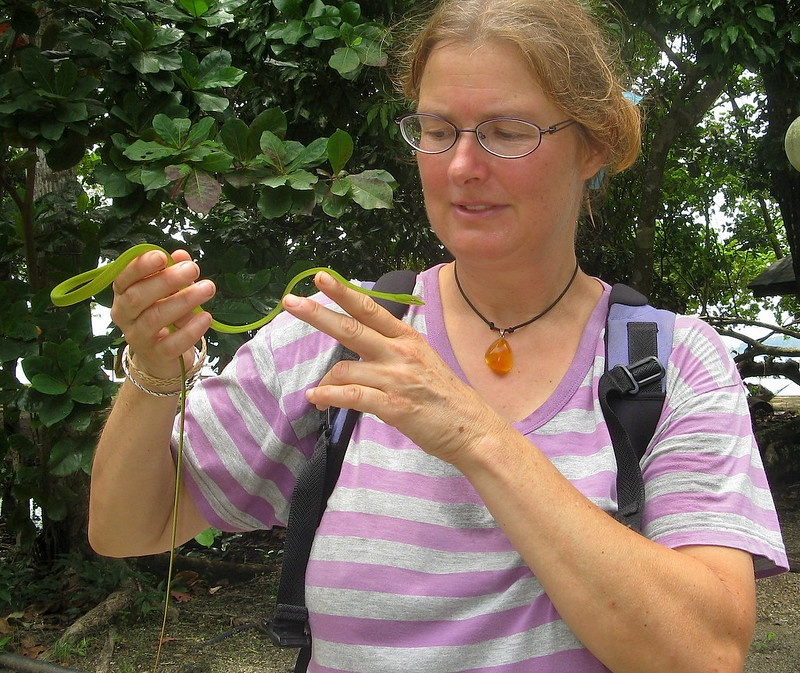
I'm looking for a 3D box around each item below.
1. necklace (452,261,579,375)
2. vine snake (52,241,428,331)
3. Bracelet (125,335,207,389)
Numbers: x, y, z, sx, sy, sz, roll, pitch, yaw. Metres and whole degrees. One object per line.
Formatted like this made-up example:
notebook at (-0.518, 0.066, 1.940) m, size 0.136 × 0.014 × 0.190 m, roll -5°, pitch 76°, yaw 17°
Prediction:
necklace at (0.366, -0.051, 2.220) m, size 0.286 × 0.406 × 0.071 m, roll 14°, pitch -21°, yaw 13°
vine snake at (-0.490, -0.093, 1.850) m, size 0.954 × 0.143 × 0.308 m, roll 7°, pitch -1°, yaw 12°
Bracelet at (-0.653, 0.092, 1.992) m, size 0.227 × 0.227 × 0.075 m, roll 2°, pitch 26°, yaw -10°
